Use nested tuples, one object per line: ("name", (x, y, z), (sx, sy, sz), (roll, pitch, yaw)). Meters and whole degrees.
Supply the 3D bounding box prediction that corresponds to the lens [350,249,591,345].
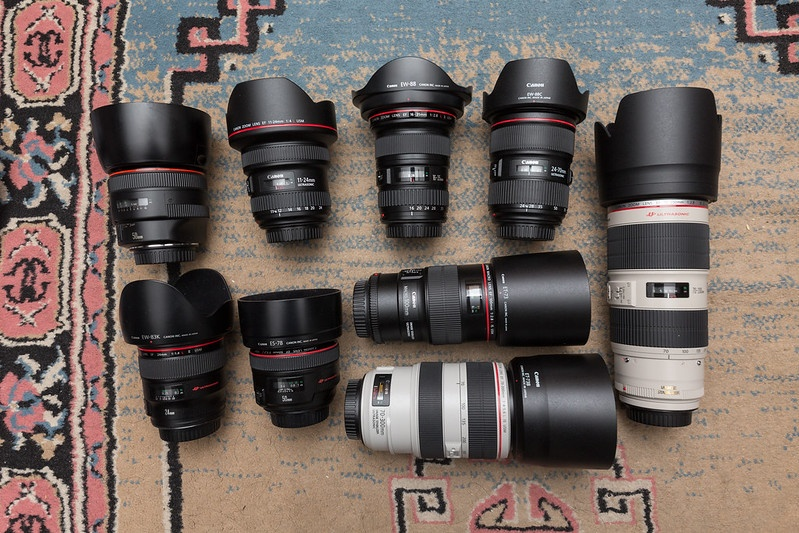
("lens", (0.356, 0.151, 3.188), (1.111, 0.361, 0.407), (-2, -11, 2))
